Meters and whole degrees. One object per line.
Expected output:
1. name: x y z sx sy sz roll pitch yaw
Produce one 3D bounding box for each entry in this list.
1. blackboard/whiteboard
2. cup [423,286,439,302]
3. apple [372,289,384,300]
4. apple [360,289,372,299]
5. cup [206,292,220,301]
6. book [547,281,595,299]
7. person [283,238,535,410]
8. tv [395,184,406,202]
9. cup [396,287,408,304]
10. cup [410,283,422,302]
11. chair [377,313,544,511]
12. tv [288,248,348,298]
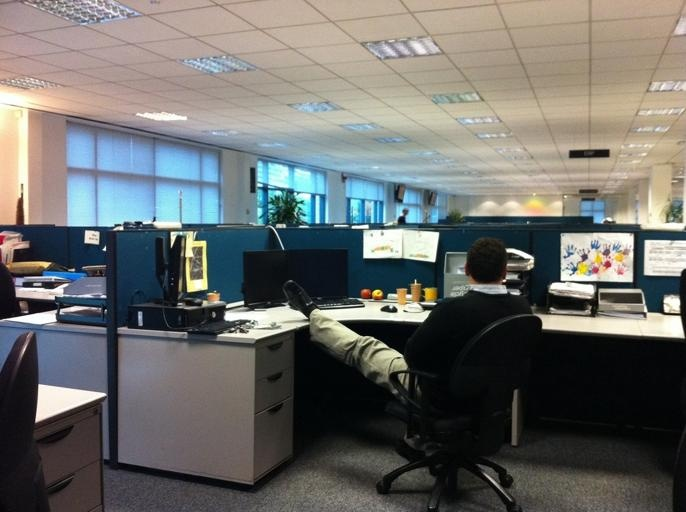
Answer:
1. blackboard/whiteboard: 1.820 0.011 3.748 0.386 0.266 0.015 0 1 13
2. cup: 0.654 0.287 3.921 0.121 0.105 0.075 1 0 11
3. apple: 0.271 0.298 4.106 0.075 0.069 0.072 0 3 3
4. apple: 0.183 0.292 4.148 0.074 0.069 0.073 7 -13 -22
5. cup: -0.837 0.264 3.449 0.061 0.049 0.059 1 -5 0
6. book: 1.539 0.241 3.587 0.274 0.091 0.221 5 10 26
7. person: 0.440 0.319 3.192 0.928 0.925 1.439 4 2 -35
8. tv: 1.990 -2.227 18.653 0.229 0.598 0.627 5 6 27
9. cup: 0.432 0.297 3.920 0.099 0.110 0.101 2 -1 0
10. cup: 0.547 0.274 4.061 0.121 0.151 0.120 3 -3 0
11. chair: 0.601 0.786 2.766 0.752 1.068 0.446 2 10 14
12. tv: -0.200 0.111 3.893 0.596 0.371 0.313 1 -2 -17
